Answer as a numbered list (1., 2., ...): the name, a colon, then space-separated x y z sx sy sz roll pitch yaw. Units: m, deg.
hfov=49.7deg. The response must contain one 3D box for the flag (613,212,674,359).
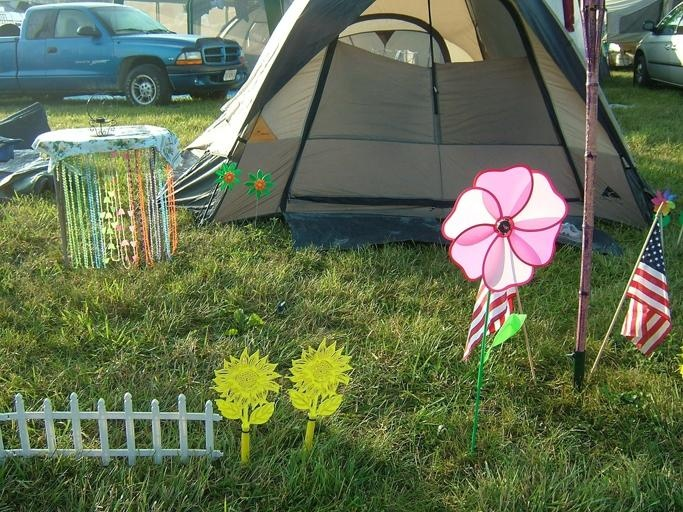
1. flag: 1.716 0.173 4.142 0.230 0.740 0.229 2 14 6

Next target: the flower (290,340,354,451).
1. flower: -0.122 0.716 3.629 0.288 0.109 0.582 5 52 7

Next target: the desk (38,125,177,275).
1. desk: -1.762 -0.395 5.579 0.814 0.803 0.873 9 27 15

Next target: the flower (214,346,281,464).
1. flower: -0.481 0.688 3.816 0.320 0.583 0.460 -2 15 -9

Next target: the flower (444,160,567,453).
1. flower: 0.832 0.256 3.855 0.516 1.439 0.455 -10 17 -36
